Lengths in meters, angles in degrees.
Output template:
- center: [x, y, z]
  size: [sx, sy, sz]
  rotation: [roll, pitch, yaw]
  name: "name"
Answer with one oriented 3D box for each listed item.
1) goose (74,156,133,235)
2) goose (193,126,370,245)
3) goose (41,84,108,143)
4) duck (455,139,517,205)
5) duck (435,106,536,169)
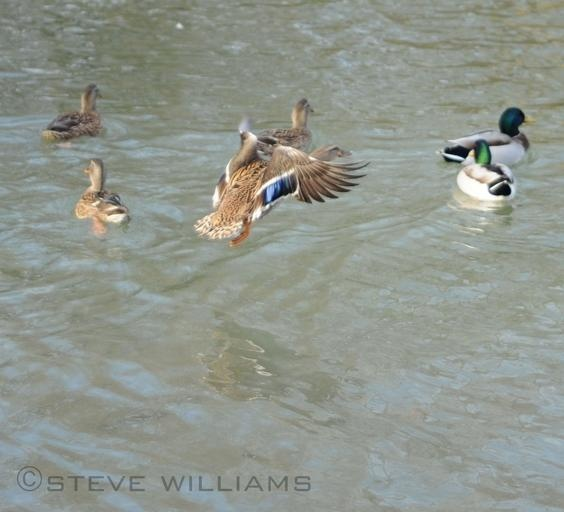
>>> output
- center: [-2.197, -0.766, 10.011]
  size: [0.963, 0.781, 1.363]
  rotation: [-15, 24, -28]
  name: "goose"
- center: [-0.079, -0.719, 9.029]
  size: [1.559, 2.063, 2.342]
  rotation: [13, 43, 0]
  name: "goose"
- center: [-3.262, -2.223, 12.003]
  size: [1.151, 0.849, 1.006]
  rotation: [-7, 29, -17]
  name: "goose"
- center: [2.867, -1.202, 10.909]
  size: [0.886, 0.654, 1.158]
  rotation: [-6, 26, -5]
  name: "duck"
- center: [3.277, -1.766, 11.648]
  size: [1.751, 0.986, 1.707]
  rotation: [12, 24, 17]
  name: "duck"
